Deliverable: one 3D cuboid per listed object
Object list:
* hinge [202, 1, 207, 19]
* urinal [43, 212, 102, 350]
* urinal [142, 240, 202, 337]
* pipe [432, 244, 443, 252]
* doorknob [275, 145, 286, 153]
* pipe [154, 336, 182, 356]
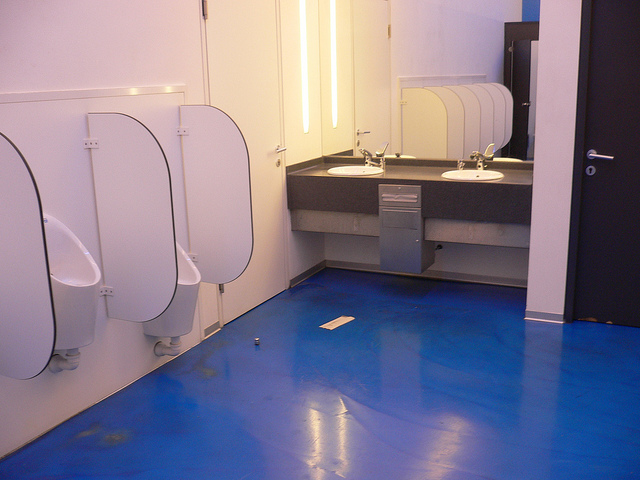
[{"bbox_3d":[-0.820,-1.645,3.796,0.015,0.116,0.047,9,20,30],"label":"hinge"},{"bbox_3d":[-1.391,0.216,2.917,0.360,0.667,0.331,8,14,18],"label":"urinal"},{"bbox_3d":[-0.943,0.323,3.521,0.255,0.631,0.391,6,13,10],"label":"urinal"},{"bbox_3d":[1.120,0.073,5.023,0.080,0.069,0.044,-4,18,-6],"label":"pipe"},{"bbox_3d":[-0.353,-0.796,4.648,0.027,0.048,0.124,-2,3,29],"label":"doorknob"},{"bbox_3d":[-1.038,0.720,3.612,0.183,0.159,0.065,3,18,14],"label":"pipe"}]
